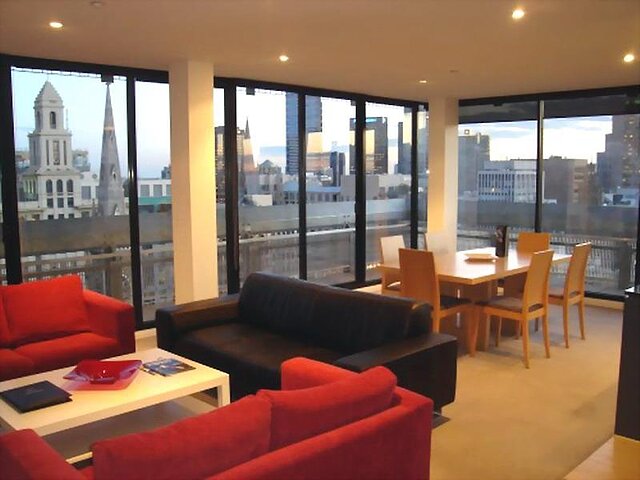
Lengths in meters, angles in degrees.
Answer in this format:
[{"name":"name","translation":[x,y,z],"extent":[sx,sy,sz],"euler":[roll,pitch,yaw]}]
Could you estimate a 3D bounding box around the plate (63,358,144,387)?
[{"name":"plate","translation":[-1.456,0.905,3.396],"extent":[0.239,0.054,0.227],"euler":[0,12,6]}]
